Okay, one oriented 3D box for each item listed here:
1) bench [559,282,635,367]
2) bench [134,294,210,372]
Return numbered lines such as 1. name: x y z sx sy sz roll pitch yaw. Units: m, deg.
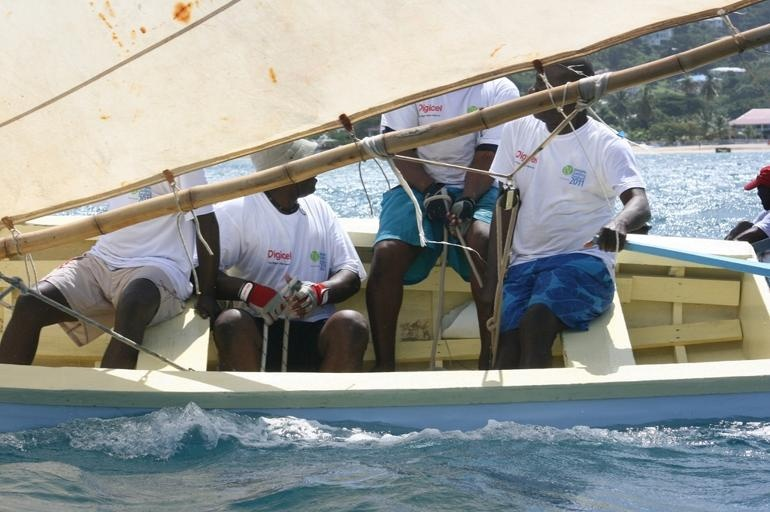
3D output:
1. bench: 1.000 0.398 3.667 0.218 0.131 0.649 -7 21 10
2. bench: -0.995 0.371 3.735 0.249 0.100 0.418 -1 34 -8
